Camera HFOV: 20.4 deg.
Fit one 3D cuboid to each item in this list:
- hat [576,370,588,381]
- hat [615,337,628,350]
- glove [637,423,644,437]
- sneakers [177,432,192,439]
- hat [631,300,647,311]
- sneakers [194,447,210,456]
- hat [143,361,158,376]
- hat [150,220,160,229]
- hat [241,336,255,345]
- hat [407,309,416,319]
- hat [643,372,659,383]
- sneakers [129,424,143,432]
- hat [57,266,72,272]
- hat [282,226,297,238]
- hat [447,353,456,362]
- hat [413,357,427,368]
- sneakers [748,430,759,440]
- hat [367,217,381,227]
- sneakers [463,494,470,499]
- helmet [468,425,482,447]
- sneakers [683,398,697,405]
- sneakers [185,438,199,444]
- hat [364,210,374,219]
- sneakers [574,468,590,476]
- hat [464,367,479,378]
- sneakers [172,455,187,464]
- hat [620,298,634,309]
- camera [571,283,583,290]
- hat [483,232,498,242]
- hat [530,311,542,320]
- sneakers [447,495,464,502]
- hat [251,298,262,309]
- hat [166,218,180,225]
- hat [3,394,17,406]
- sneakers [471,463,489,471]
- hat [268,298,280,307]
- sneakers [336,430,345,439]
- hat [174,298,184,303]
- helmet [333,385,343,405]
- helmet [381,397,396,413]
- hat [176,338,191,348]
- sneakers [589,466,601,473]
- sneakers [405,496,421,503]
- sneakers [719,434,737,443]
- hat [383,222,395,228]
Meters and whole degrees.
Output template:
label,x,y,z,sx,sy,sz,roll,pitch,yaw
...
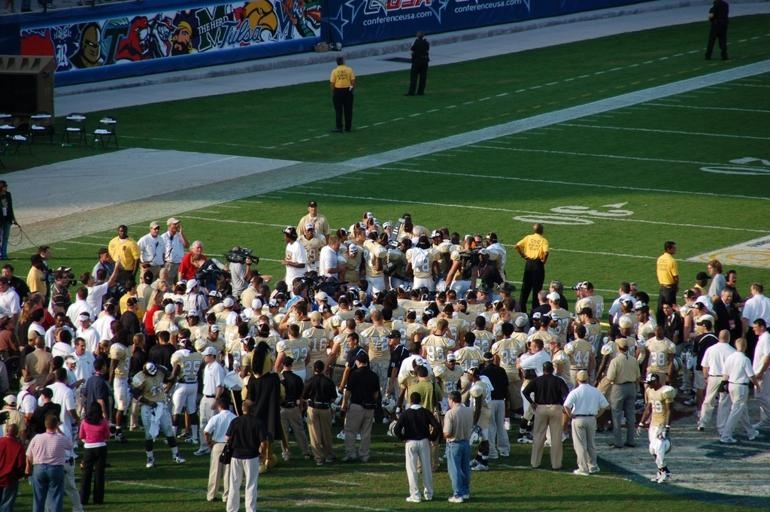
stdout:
label,x,y,z,sx,sy,sz,roll,pitch,yaw
hat,5.106,2.933,55.129,0.220,0.144,0.298,8,24,23
hat,6.196,2.173,55.998,0.246,0.162,0.298,-3,43,-9
glove,6.754,4.416,56.531,0.245,0.302,0.115,-3,-16,16
sneakers,-5.324,4.586,56.744,0.397,0.158,0.148,4,3,26
hat,6.822,1.259,57.415,0.215,0.270,0.268,-14,-21,33
sneakers,-4.778,4.934,55.971,0.485,0.174,0.170,2,3,4
hat,-6.081,2.815,55.458,0.280,0.336,0.341,11,-32,10
hat,-6.659,-0.961,61.429,0.270,0.183,0.376,0,-10,-30
hat,-3.447,2.088,55.401,0.479,0.196,0.297,2,-7,39
hat,0.693,1.448,56.929,0.197,0.221,0.218,3,-7,-3
hat,6.886,3.000,55.245,0.346,0.245,0.342,0,-7,-7
sneakers,-6.663,4.398,56.963,0.424,0.176,0.147,-4,25,-12
hat,-8.843,0.306,59.035,0.308,0.109,0.199,-2,12,-17
hat,-2.759,-0.735,60.786,0.274,0.208,0.378,-13,37,-44
hat,1.715,2.481,55.414,0.215,0.231,0.256,-1,-7,1
hat,0.888,2.611,55.214,0.300,0.221,0.282,16,-49,-25
sneakers,9.746,4.534,56.510,0.146,0.173,0.425,3,30,40
hat,-0.312,-0.999,61.750,0.331,0.159,0.235,7,15,-31
sneakers,2.067,5.909,54.369,0.106,0.088,0.139,-9,10,-32
helmet,2.332,4.454,55.029,0.382,0.457,0.471,8,26,-1
sneakers,8.237,3.797,57.816,0.379,0.145,0.134,1,7,8
sneakers,-5.097,4.709,56.524,0.372,0.153,0.127,5,0,11
hat,-0.483,-1.183,61.876,0.300,0.235,0.211,2,13,-3
sneakers,5.061,5.383,55.165,0.379,0.150,0.152,9,12,31
hat,2.257,2.873,55.290,0.371,0.323,0.498,-1,-6,1
sneakers,-5.359,5.118,55.644,0.341,0.139,0.144,4,9,26
hat,6.516,1.162,57.504,0.295,0.202,0.460,17,-2,-26
camera,5.310,0.780,59.256,0.300,0.282,0.226,3,13,11
hat,3.006,-0.594,60.869,0.251,0.177,0.329,-7,18,-34
hat,4.076,1.494,57.702,0.256,0.118,0.387,2,9,15
sneakers,1.782,5.976,54.330,0.383,0.164,0.151,7,9,41
hat,-3.446,1.169,57.133,0.228,0.236,0.242,21,-11,-16
hat,-6.164,-1.000,61.700,0.271,0.140,0.403,-13,1,-34
hat,-9.540,3.519,54.484,0.305,0.285,0.723,1,-6,-11
sneakers,2.435,5.278,55.388,0.460,0.162,0.154,3,1,-8
hat,-3.047,1.157,57.985,0.183,0.231,0.210,11,9,38
sneakers,-1.181,4.577,56.592,0.159,0.165,0.386,9,-4,-20
hat,-5.589,1.127,58.156,0.179,0.119,0.278,3,-13,5
helmet,-1.249,3.486,56.292,0.214,0.224,0.642,14,7,-8
helmet,0.116,3.795,56.659,0.437,0.398,0.310,-14,4,-13
hat,-5.288,2.173,56.026,0.228,0.259,0.278,12,-2,-40
sneakers,5.425,5.314,55.186,0.293,0.189,0.083,4,-8,-33
sneakers,0.717,5.969,54.289,0.385,0.151,0.158,4,8,11
sneakers,8.992,4.645,56.230,0.449,0.276,0.168,-6,21,-8
hat,0.101,-0.977,62.909,0.223,0.145,0.273,-1,8,1
